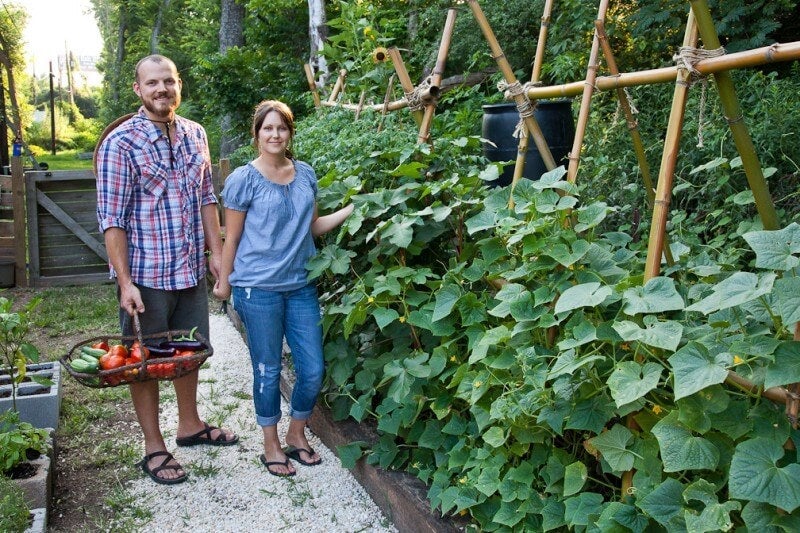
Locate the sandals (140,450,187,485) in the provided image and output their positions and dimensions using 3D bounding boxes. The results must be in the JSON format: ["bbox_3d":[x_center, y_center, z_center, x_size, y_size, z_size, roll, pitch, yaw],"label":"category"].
[{"bbox_3d":[-1.446,1.213,3.588,0.294,0.112,0.146,16,18,35],"label":"sandals"}]

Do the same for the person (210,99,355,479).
[{"bbox_3d":[-0.729,0.151,3.528,0.718,2.220,0.493,-5,15,-17],"label":"person"}]

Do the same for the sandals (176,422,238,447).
[{"bbox_3d":[-1.293,1.151,3.940,0.388,0.133,0.153,-1,4,-7],"label":"sandals"}]

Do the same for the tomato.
[{"bbox_3d":[-1.431,0.535,3.265,0.275,0.141,0.116,-3,-30,-5],"label":"tomato"}]

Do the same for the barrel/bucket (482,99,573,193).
[{"bbox_3d":[1.153,-0.979,5.446,1.001,1.057,0.979,-1,6,0],"label":"barrel/bucket"}]

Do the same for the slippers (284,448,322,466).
[{"bbox_3d":[-0.605,1.186,3.671,0.242,0.064,0.097,11,14,34],"label":"slippers"}]

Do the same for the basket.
[{"bbox_3d":[-1.520,0.532,3.334,0.756,0.161,0.522,-5,14,-17],"label":"basket"}]
